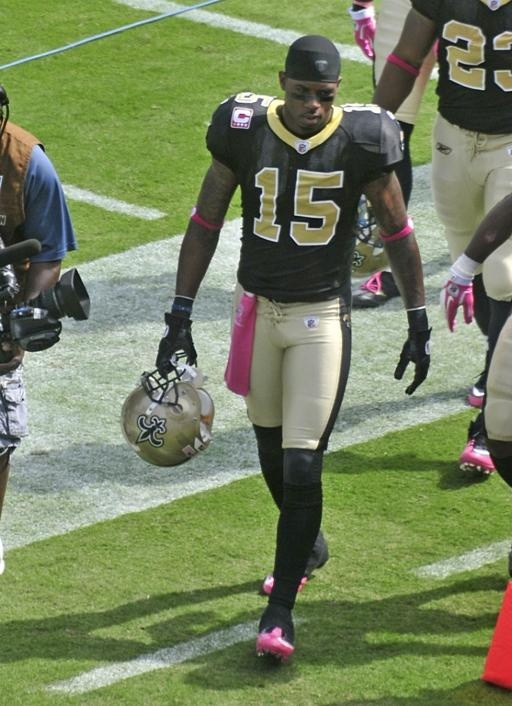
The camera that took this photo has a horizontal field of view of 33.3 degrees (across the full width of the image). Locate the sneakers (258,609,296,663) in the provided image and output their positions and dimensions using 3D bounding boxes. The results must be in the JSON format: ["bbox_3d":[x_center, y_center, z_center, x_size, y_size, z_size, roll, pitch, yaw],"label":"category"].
[{"bbox_3d":[0.057,0.757,2.297,0.099,0.116,0.241,22,-13,5],"label":"sneakers"}]

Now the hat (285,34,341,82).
[{"bbox_3d":[0.162,-0.834,2.394,0.175,0.105,0.166,-18,34,-37],"label":"hat"}]

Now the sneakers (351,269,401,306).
[{"bbox_3d":[0.725,-0.375,5.132,0.162,0.148,0.416,11,12,28],"label":"sneakers"}]

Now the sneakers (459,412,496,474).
[{"bbox_3d":[0.883,0.386,3.464,0.165,0.171,0.423,5,9,11],"label":"sneakers"}]

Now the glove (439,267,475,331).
[{"bbox_3d":[0.735,-0.198,3.099,0.155,0.212,0.073,8,32,-4],"label":"glove"}]

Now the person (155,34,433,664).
[{"bbox_3d":[-0.010,-0.063,2.496,0.682,1.653,0.869,6,19,34],"label":"person"}]

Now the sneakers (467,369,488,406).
[{"bbox_3d":[1.002,0.161,3.866,0.079,0.086,0.192,15,56,20],"label":"sneakers"}]
